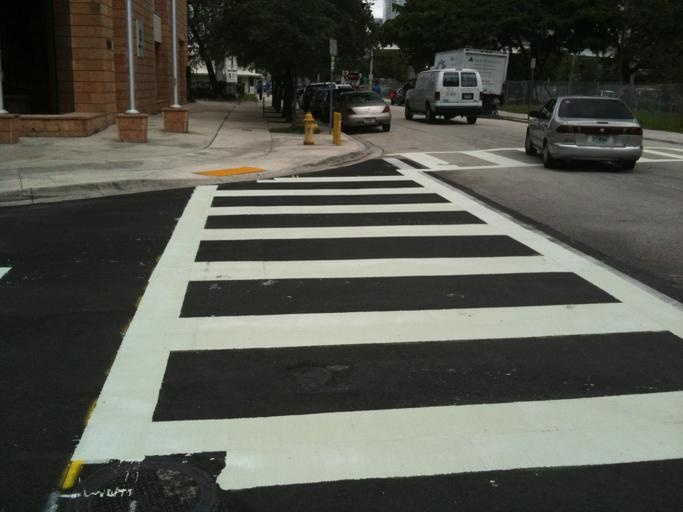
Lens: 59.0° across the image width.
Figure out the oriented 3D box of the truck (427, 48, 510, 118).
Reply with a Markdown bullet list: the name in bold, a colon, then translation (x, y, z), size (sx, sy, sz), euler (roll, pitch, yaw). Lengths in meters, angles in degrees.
- **truck**: translation (11.637, -12.780, 45.240), size (7.391, 4.811, 4.027), euler (-13, 26, -36)

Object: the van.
- **van**: translation (4.674, -8.017, 30.592), size (2.049, 3.030, 5.289), euler (-12, 26, -31)

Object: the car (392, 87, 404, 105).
- **car**: translation (5.169, -14.047, 53.227), size (1.080, 0.887, 2.460), euler (-4, 19, -12)

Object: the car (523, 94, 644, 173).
- **car**: translation (5.929, -3.106, 15.284), size (1.900, 1.818, 2.797), euler (-7, 23, -19)
